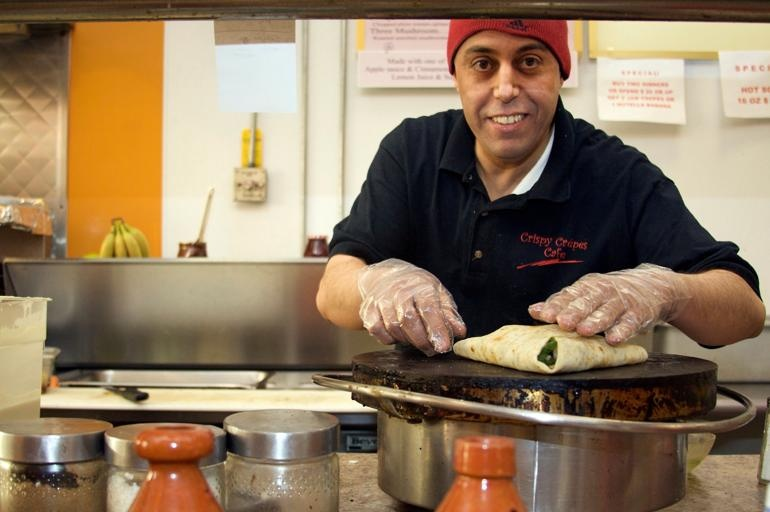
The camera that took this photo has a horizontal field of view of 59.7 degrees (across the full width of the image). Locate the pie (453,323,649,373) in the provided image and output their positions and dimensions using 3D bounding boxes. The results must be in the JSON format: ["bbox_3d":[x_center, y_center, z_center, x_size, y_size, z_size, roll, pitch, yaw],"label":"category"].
[{"bbox_3d":[0.437,0.246,1.747,0.509,0.082,0.219,0,3,3],"label":"pie"}]

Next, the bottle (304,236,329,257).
[{"bbox_3d":[-0.357,-0.044,3.503,0.121,0.118,0.123,0,2,21],"label":"bottle"}]

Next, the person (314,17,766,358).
[{"bbox_3d":[0.438,-0.237,2.100,1.303,1.023,0.757,0,3,-1],"label":"person"}]

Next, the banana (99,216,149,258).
[{"bbox_3d":[-1.317,-0.092,3.404,0.218,0.189,0.100,-1,3,-21],"label":"banana"}]
